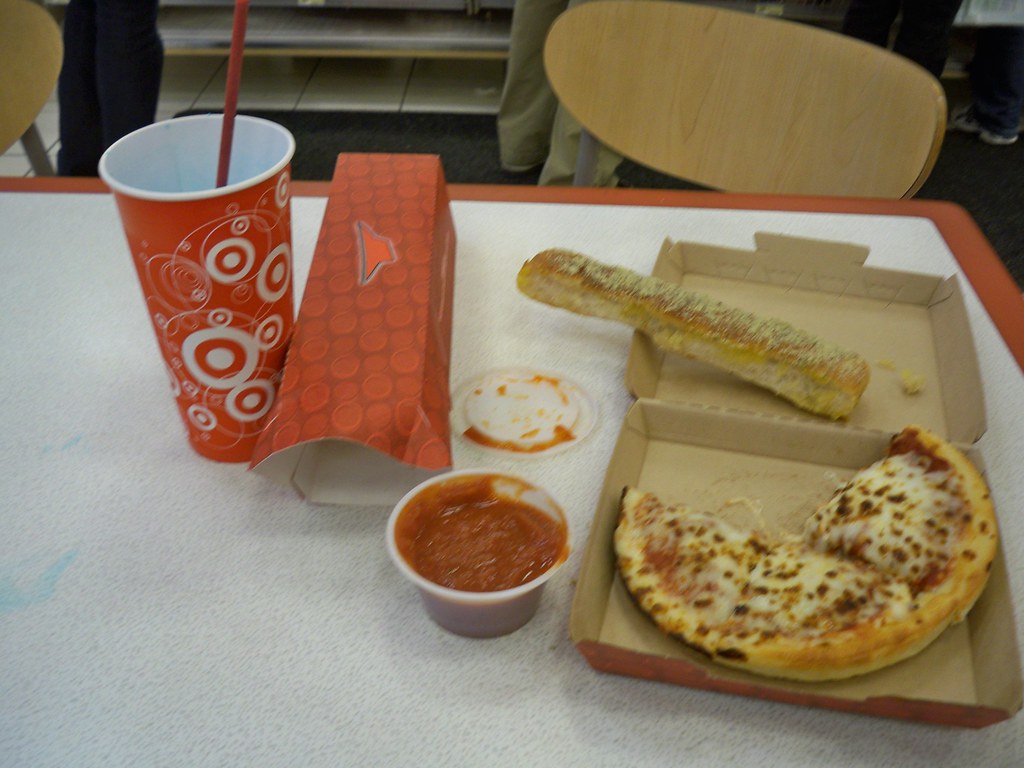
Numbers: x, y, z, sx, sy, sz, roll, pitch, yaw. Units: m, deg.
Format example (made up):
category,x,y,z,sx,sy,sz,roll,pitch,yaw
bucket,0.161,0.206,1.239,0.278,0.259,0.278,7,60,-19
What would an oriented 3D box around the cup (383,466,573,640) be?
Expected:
category,x,y,z,sx,sy,sz,roll,pitch,yaw
cup,-0.028,0.140,0.643,0.146,0.083,0.112,6,40,1
